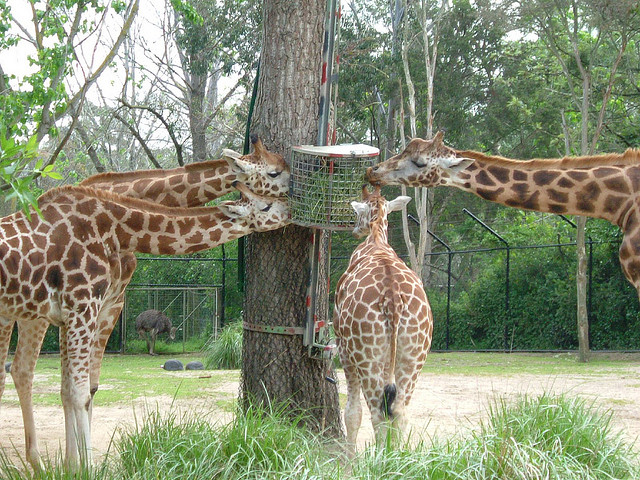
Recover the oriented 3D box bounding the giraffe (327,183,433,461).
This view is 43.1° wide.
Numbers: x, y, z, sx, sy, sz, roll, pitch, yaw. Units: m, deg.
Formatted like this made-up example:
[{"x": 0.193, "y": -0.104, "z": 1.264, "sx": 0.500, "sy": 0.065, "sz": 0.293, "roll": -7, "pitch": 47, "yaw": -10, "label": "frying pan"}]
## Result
[{"x": 0.614, "y": 0.947, "z": 8.619, "sx": 0.791, "sy": 2.436, "sz": 3.291, "roll": 3, "pitch": 27, "yaw": -7, "label": "giraffe"}]
